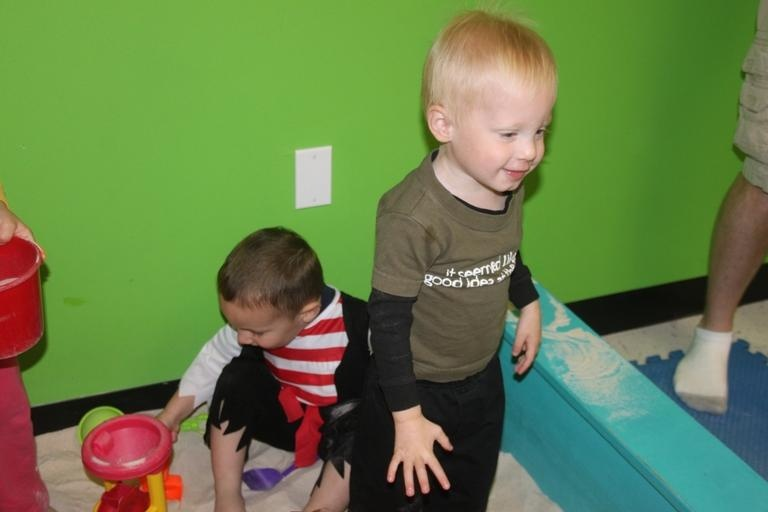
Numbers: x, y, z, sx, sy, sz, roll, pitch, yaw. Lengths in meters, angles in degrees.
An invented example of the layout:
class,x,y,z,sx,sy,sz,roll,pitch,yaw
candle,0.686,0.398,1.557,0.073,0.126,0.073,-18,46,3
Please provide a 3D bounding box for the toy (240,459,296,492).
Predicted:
class,x,y,z,sx,sy,sz,roll,pitch,yaw
toy,-0.334,0.634,1.662,0.151,0.026,0.054,-16,60,-34
